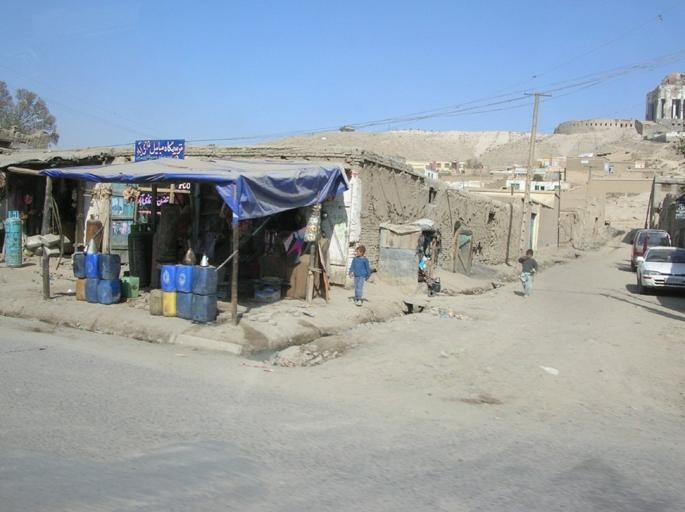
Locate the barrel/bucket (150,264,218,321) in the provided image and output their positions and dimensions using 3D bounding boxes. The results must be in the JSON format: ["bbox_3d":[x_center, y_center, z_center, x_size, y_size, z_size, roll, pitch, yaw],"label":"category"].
[{"bbox_3d":[-3.220,0.782,13.754,1.072,0.939,0.321,4,7,32],"label":"barrel/bucket"}]

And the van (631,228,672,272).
[{"bbox_3d":[13.355,-0.161,28.825,1.812,1.718,3.510,-1,6,13],"label":"van"}]

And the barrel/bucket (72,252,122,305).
[{"bbox_3d":[-5.371,0.506,14.687,1.067,1.043,0.361,3,6,29],"label":"barrel/bucket"}]
